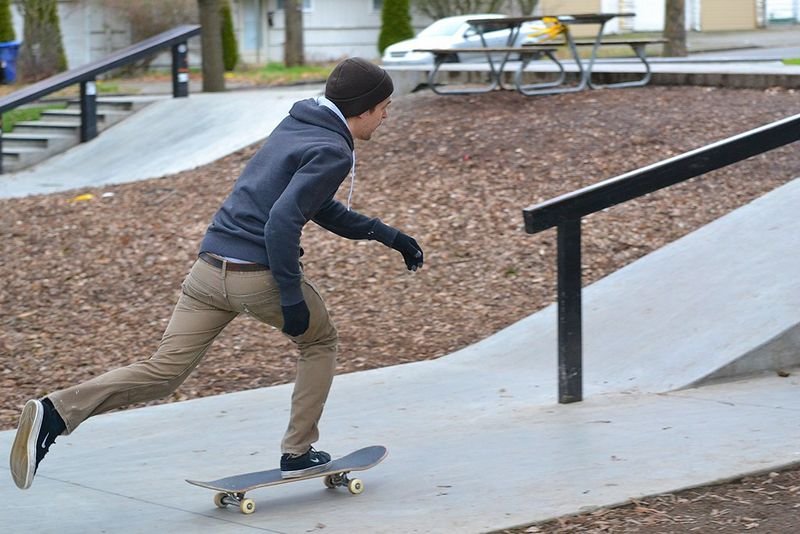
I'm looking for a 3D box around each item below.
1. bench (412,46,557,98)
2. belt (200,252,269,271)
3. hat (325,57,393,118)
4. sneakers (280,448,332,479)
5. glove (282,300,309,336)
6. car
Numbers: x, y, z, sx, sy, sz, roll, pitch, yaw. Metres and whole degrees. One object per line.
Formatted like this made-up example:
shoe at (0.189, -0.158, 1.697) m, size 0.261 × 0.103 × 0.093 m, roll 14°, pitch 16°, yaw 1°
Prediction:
bench at (1.504, -3.029, 24.425) m, size 1.840 × 0.498 × 1.782 m, roll -1°, pitch 10°, yaw 24°
belt at (-1.696, 0.016, 16.150) m, size 0.374 × 0.056 × 0.305 m, roll 9°, pitch 4°, yaw -32°
hat at (-0.433, -1.843, 16.277) m, size 0.861 × 0.446 × 0.579 m, roll -3°, pitch 47°, yaw 13°
sneakers at (-0.954, 2.088, 16.297) m, size 0.624 × 0.219 × 0.233 m, roll -7°, pitch 13°, yaw -29°
glove at (-1.044, 0.577, 16.072) m, size 0.340 × 0.275 × 0.366 m, roll -2°, pitch 13°, yaw 14°
car at (0.967, -4.713, 32.980) m, size 4.612 × 1.064 × 1.719 m, roll -2°, pitch 9°, yaw -10°
